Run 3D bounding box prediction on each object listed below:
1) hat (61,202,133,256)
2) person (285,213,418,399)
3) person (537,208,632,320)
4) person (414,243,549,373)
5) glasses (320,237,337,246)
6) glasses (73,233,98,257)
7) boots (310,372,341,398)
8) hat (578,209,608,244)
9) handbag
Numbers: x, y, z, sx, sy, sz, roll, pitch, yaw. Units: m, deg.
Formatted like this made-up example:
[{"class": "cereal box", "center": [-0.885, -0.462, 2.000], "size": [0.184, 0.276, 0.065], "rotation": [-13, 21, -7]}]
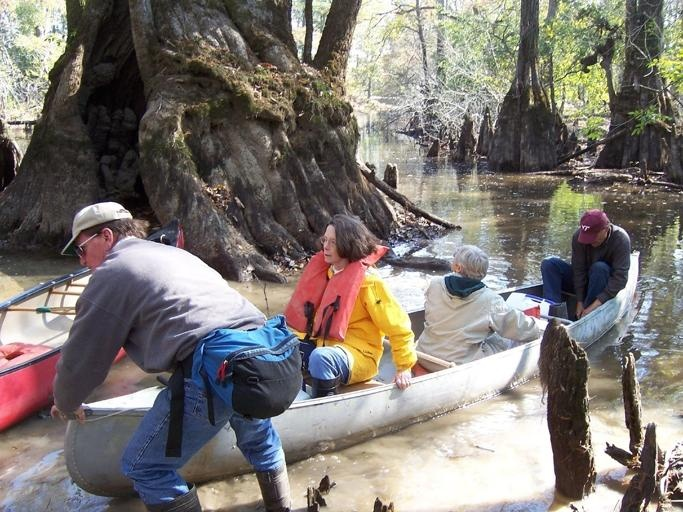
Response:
[{"class": "hat", "center": [-1.504, -0.239, 3.737], "size": [0.430, 0.245, 0.302], "rotation": [-16, -2, 24]}, {"class": "person", "center": [0.056, 0.426, 4.868], "size": [1.143, 1.516, 0.621], "rotation": [3, 4, 12]}, {"class": "person", "center": [2.909, 0.229, 6.979], "size": [0.849, 1.498, 0.746], "rotation": [9, 12, 30]}, {"class": "person", "center": [1.246, 0.465, 5.469], "size": [0.948, 1.101, 0.507], "rotation": [2, 4, -8]}, {"class": "glasses", "center": [-0.107, -0.124, 4.814], "size": [0.066, 0.097, 0.035], "rotation": [10, -36, 17]}, {"class": "glasses", "center": [-1.573, -0.045, 3.619], "size": [0.147, 0.049, 0.141], "rotation": [-42, 11, -24]}, {"class": "boots", "center": [-0.160, 1.090, 4.754], "size": [0.260, 0.221, 0.253], "rotation": [3, 4, 15]}, {"class": "hat", "center": [2.888, -0.319, 6.646], "size": [0.319, 0.392, 0.289], "rotation": [4, 4, 25]}, {"class": "handbag", "center": [-0.537, 0.657, 3.433], "size": [0.549, 0.327, 0.577], "rotation": [46, 45, 14]}]
